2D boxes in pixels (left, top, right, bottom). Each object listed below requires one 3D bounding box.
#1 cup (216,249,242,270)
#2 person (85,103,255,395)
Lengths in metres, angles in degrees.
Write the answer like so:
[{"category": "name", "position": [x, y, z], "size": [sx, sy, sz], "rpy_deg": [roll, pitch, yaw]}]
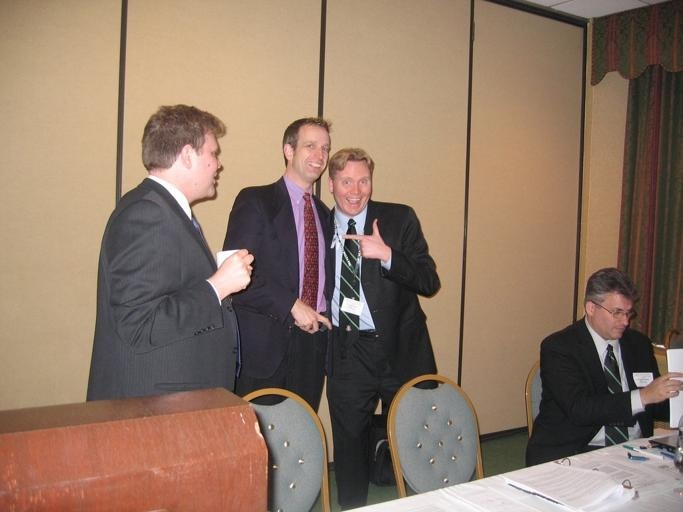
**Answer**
[{"category": "cup", "position": [-0.476, 0.003, 2.513], "size": [0.081, 0.100, 0.095], "rpy_deg": [0, -9, 4]}, {"category": "person", "position": [-0.711, -0.034, 2.436], "size": [0.653, 1.207, 0.335], "rpy_deg": [-3, -4, -26]}]
